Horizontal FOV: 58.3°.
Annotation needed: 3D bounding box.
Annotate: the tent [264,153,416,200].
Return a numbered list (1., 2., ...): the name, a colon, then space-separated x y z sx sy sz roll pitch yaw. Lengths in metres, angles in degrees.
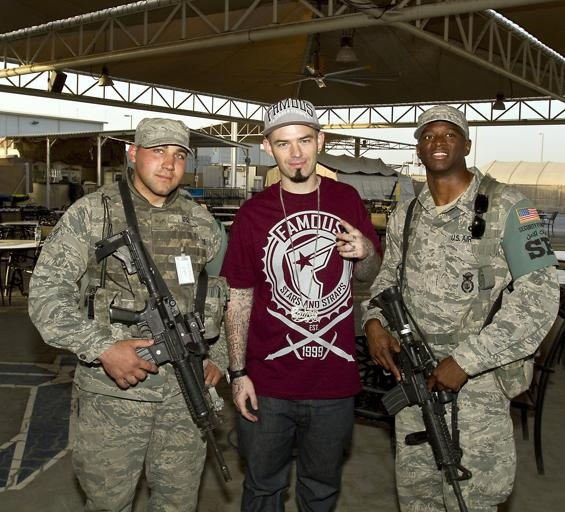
1. tent: 4.138 -3.858 25.336 6.817 1.397 6.008 5 12 -27

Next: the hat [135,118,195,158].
1. hat: -0.531 -0.549 2.273 0.294 0.116 0.257 25 27 36

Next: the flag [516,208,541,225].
1. flag: 1.069 -0.172 2.181 0.144 0.065 0.070 -5 11 -39

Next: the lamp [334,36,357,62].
1. lamp: 1.675 -5.398 13.207 0.462 0.829 1.184 3 8 7

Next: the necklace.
1. necklace: 0.106 -0.023 2.337 0.173 0.506 0.017 7 -20 30

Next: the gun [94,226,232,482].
1. gun: -0.468 0.365 2.109 0.707 0.941 0.283 8 11 35

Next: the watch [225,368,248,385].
1. watch: -0.217 0.554 2.368 0.095 0.042 0.084 -2 2 -21

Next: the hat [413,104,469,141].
1. hat: 0.772 -0.637 2.388 0.254 0.137 0.294 -3 -4 16

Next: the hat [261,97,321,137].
1. hat: 0.024 -0.650 2.350 0.315 0.128 0.315 3 18 26

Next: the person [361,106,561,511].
1. person: 0.786 0.199 2.330 0.564 1.769 0.699 -2 10 -21
